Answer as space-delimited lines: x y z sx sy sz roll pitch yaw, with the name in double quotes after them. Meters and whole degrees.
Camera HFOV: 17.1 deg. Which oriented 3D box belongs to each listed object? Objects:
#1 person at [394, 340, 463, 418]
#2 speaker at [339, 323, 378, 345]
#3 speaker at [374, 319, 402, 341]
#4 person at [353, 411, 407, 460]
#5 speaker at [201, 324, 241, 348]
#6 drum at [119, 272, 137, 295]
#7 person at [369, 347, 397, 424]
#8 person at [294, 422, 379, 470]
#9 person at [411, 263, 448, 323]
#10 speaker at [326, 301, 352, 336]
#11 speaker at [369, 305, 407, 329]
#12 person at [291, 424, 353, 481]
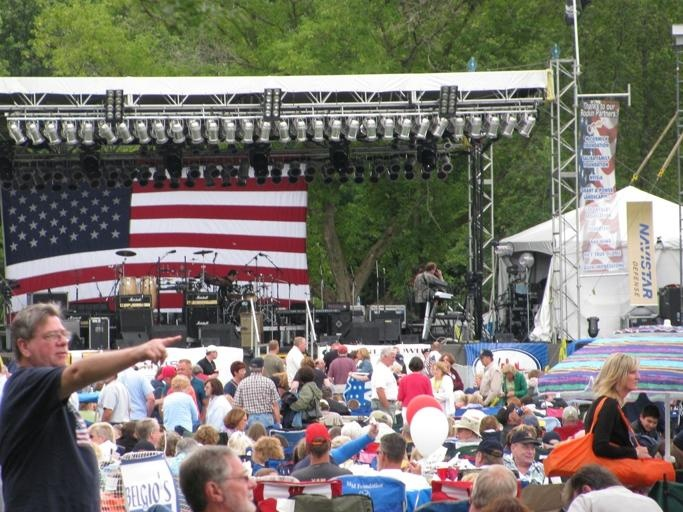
2.217 3.336 60.576 1.249 1.687 1.188 2 6 24 "person"
0.639 2.310 67.268 0.680 0.493 0.707 0 -4 5 "speaker"
1.429 2.230 67.528 0.613 0.640 0.634 0 -7 -3 "speaker"
1.073 4.561 57.849 1.027 1.126 0.929 -2 1 -4 "person"
-3.447 2.402 66.164 1.110 0.743 1.275 -3 11 -6 "speaker"
-6.338 0.903 69.247 0.505 0.538 0.516 1 -7 -6 "drum"
1.211 3.948 61.632 0.746 2.888 1.127 2 12 14 "person"
-0.059 4.803 56.618 1.702 1.240 1.370 2 -1 32 "person"
2.608 0.989 66.996 0.805 1.893 0.737 -2 3 -20 "person"
0.111 1.889 68.584 0.764 1.528 0.847 0 -1 -13 "speaker"
1.400 1.724 69.351 0.929 0.673 0.633 0 -5 -1 "speaker"
-0.467 4.884 55.988 1.134 1.434 1.226 -1 0 -31 "person"
